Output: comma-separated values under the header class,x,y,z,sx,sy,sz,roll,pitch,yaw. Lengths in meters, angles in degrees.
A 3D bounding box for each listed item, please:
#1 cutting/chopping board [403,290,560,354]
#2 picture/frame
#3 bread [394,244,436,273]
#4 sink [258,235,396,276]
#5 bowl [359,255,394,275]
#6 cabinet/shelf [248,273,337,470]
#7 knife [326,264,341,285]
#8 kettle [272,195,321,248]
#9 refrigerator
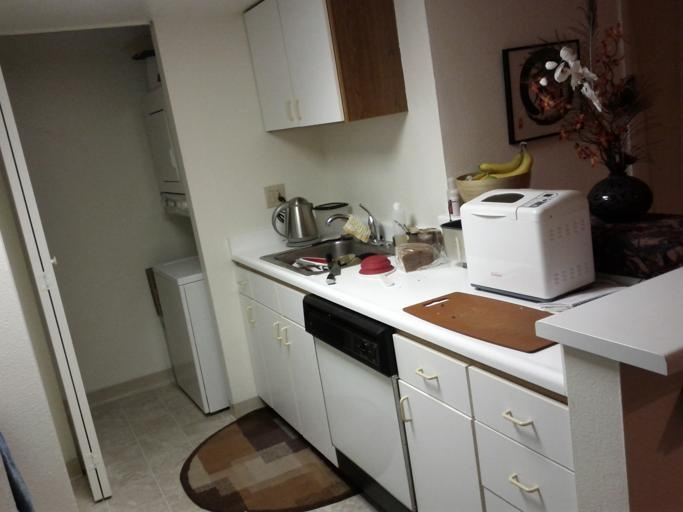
class,x,y,z,sx,sy,sz,roll,pitch,yaw
cutting/chopping board,0.480,0.205,1.758,0.301,0.031,0.559,-22,19,-37
picture/frame,0.931,-0.780,2.452,0.597,0.577,0.042,-12,14,-26
bread,0.335,0.004,2.375,0.160,0.123,0.115,2,-24,-19
sink,-0.105,-0.022,2.933,0.390,0.156,0.332,-14,18,-37
bowl,0.162,0.037,2.447,0.162,0.056,0.175,-10,15,3
cabinet/shelf,-0.248,0.599,2.706,0.429,0.710,0.724,-21,35,-33
knife,-0.040,0.091,2.442,0.049,0.031,0.131,21,29,-5
kettle,-0.239,-0.226,3.228,0.327,0.347,0.231,-5,14,1
refrigerator,-0.991,0.498,3.414,0.505,1.117,0.773,-9,17,-20
